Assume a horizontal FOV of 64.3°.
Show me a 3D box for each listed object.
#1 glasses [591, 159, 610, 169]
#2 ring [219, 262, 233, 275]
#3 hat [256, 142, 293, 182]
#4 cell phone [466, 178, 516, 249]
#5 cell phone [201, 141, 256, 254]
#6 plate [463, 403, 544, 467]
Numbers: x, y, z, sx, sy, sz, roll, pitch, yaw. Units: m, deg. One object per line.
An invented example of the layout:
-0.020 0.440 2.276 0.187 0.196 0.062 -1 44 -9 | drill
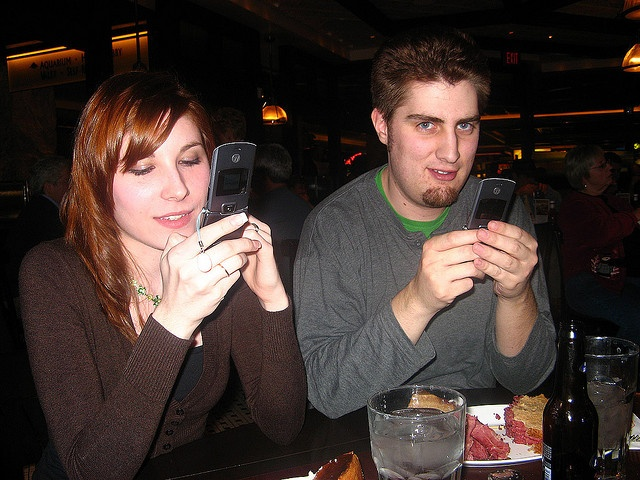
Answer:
2.312 -0.634 4.209 0.100 0.069 0.127 6 -9 -15 | glasses
-0.239 0.075 1.294 0.029 0.021 0.029 39 10 -8 | ring
-0.410 -0.707 4.709 0.315 0.336 0.377 2 23 -7 | hat
0.467 -0.096 1.401 0.117 0.146 0.107 3 12 9 | cell phone
-0.228 -0.136 1.280 0.132 0.217 0.096 -2 12 -14 | cell phone
0.423 0.477 1.243 0.181 0.064 0.187 1 11 1 | plate
